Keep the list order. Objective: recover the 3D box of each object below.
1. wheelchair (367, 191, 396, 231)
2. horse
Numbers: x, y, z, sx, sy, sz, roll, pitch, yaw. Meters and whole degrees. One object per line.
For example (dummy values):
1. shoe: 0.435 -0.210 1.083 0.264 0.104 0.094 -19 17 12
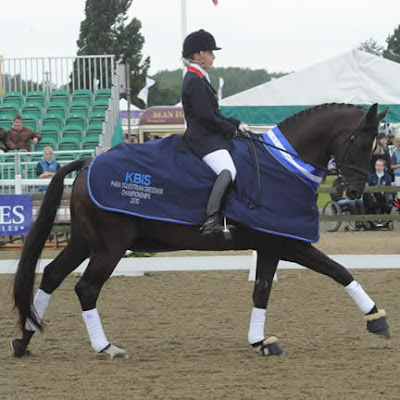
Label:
1. wheelchair: 3.482 0.219 12.072 0.730 0.768 0.756 8 16 9
2. horse: -0.022 0.245 5.041 2.969 2.039 0.624 -1 8 3
